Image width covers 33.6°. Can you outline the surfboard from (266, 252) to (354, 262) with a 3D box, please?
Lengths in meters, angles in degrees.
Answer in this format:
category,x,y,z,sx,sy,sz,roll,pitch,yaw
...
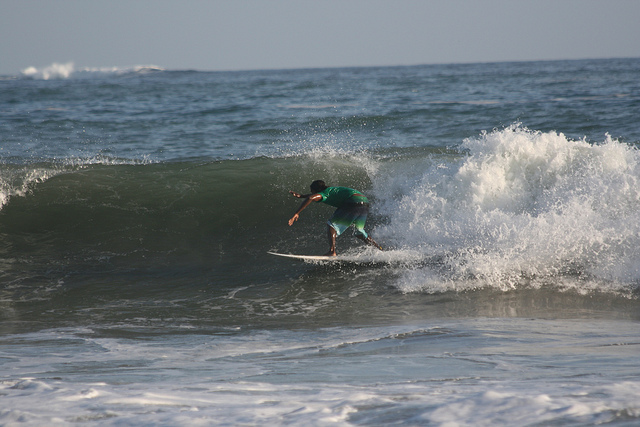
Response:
category,x,y,z,sx,sy,sz,roll,pitch,yaw
surfboard,-0.188,0.980,24.035,2.471,0.228,0.228,-1,5,15

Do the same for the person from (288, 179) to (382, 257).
category,x,y,z,sx,sy,sz,roll,pitch,yaw
person,0.432,0.114,23.688,1.794,1.698,0.557,4,-8,-16

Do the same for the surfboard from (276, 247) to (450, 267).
category,x,y,z,sx,sy,sz,roll,pitch,yaw
surfboard,1.095,0.988,23.898,4.147,0.289,0.378,-1,16,-2
